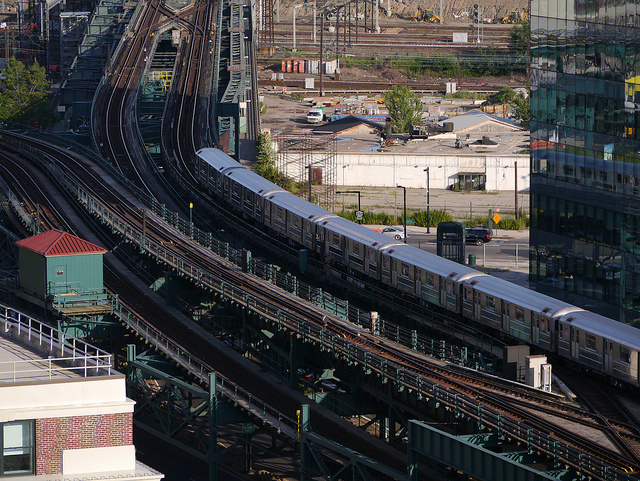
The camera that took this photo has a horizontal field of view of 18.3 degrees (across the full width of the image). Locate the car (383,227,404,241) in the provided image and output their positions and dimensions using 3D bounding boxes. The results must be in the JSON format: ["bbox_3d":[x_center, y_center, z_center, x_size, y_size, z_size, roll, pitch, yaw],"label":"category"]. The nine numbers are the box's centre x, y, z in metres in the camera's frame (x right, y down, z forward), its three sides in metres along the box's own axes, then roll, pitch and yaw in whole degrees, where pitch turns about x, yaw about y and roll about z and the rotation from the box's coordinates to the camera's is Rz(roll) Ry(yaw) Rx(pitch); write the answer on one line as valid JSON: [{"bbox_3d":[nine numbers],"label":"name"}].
[{"bbox_3d":[8.681,-1.040,230.174,1.232,0.923,2.595,-1,5,-31],"label":"car"}]

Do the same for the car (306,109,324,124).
[{"bbox_3d":[-0.762,-19.882,314.327,2.239,2.246,4.374,0,5,2],"label":"car"}]

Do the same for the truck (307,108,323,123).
[{"bbox_3d":[-0.782,-19.961,314.345,2.030,1.926,3.751,-1,8,1],"label":"truck"}]
